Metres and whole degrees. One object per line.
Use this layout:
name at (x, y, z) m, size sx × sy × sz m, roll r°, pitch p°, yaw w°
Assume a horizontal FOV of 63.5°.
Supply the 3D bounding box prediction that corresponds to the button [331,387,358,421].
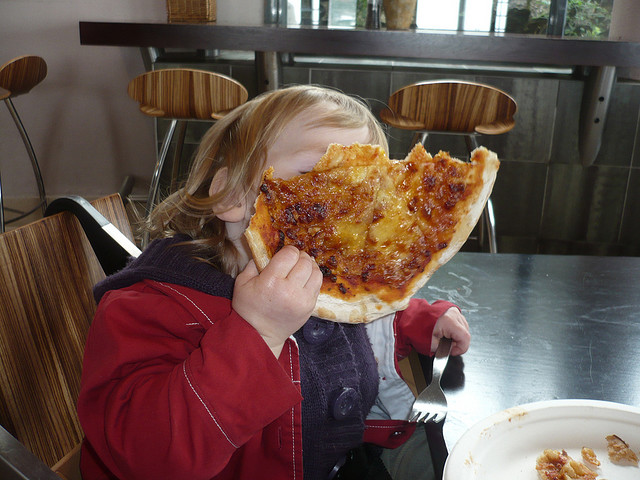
button at (0.036, 0.246, 0.783) m, size 0.011 × 0.045 × 0.046 m, roll 16°, pitch -20°, yaw 46°

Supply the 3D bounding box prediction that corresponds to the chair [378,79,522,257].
chair at (0.468, -0.291, 2.137) m, size 0.496 × 0.802 × 0.387 m, roll 3°, pitch 28°, yaw -10°

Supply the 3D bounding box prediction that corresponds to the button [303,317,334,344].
button at (-0.004, 0.145, 0.832) m, size 0.044 × 0.016 × 0.045 m, roll 34°, pitch 49°, yaw -8°

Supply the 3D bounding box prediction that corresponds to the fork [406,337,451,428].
fork at (0.180, 0.211, 0.805) m, size 0.050 × 0.026 × 0.222 m, roll -3°, pitch 18°, yaw 25°
